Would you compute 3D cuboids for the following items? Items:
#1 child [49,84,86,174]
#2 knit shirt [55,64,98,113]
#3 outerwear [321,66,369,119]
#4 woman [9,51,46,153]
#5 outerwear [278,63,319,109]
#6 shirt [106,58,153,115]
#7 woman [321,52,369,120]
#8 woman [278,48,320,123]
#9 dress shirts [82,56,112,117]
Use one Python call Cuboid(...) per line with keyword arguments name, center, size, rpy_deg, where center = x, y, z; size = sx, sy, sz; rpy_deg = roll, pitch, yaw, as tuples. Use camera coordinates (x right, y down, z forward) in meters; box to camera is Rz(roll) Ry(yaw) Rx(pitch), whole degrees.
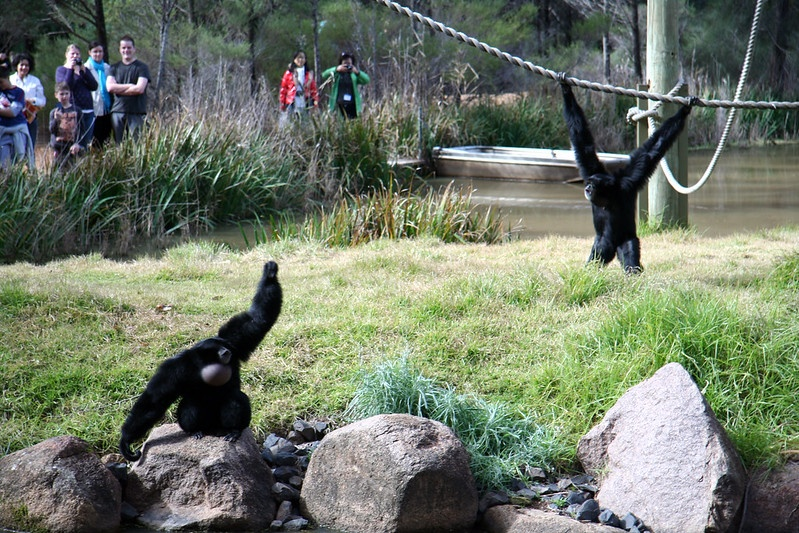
Cuboid(name="child", center=(-5.403, -2.294, 18.637), size=(0.499, 1.346, 1.013), rpy_deg=(-4, 13, -16))
Cuboid(name="knit shirt", center=(-5.383, -2.990, 19.297), size=(0.584, 0.828, 0.432), rpy_deg=(-2, 5, -18))
Cuboid(name="outerwear", center=(-1.072, -3.462, 22.869), size=(0.804, 1.045, 0.608), rpy_deg=(3, -6, -6))
Cuboid(name="woman", center=(-6.320, -2.506, 19.411), size=(0.654, 2.114, 0.592), rpy_deg=(-9, 33, -28))
Cuboid(name="outerwear", center=(-2.073, -3.629, 23.154), size=(0.816, 0.919, 0.474), rpy_deg=(0, 4, -25))
Cuboid(name="shirt", center=(-4.687, -3.114, 19.756), size=(0.640, 0.868, 0.453), rpy_deg=(3, -5, 0))
Cuboid(name="woman", center=(-1.071, -3.288, 22.797), size=(0.726, 1.851, 0.618), rpy_deg=(-1, -24, -1))
Cuboid(name="woman", center=(-2.022, -3.275, 22.943), size=(0.664, 1.918, 0.500), rpy_deg=(2, -13, -7))
Cuboid(name="dress shirts", center=(-5.115, -3.123, 19.834), size=(0.533, 0.995, 0.352), rpy_deg=(-11, 38, -8))
